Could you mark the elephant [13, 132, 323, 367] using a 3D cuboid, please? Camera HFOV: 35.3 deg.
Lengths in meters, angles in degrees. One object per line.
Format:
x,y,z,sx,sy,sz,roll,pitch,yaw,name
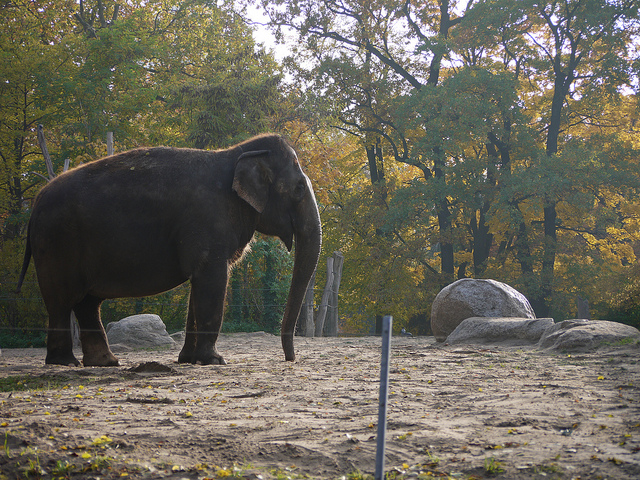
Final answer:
-3.182,0.331,22.229,6.671,5.024,3.268,-1,4,-15,elephant
